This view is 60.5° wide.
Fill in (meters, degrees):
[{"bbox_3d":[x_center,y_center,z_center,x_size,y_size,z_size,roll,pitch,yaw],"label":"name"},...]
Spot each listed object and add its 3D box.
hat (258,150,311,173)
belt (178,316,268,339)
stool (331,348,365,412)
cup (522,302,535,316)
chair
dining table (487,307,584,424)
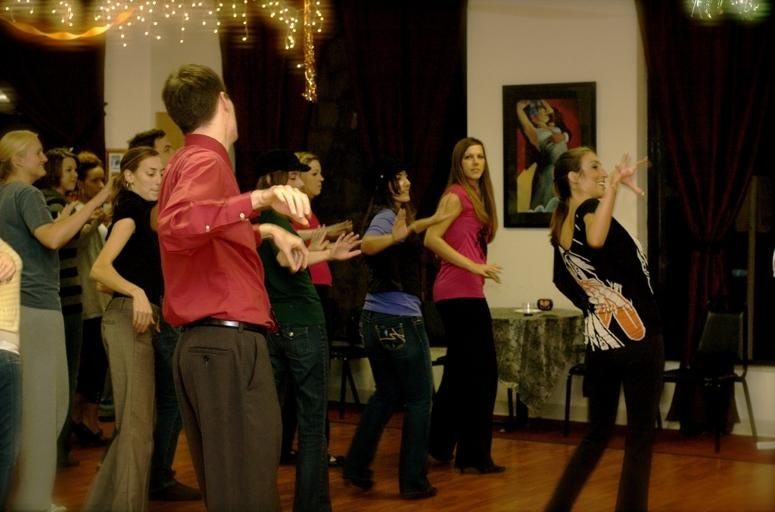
[{"bbox_3d":[-0.646,-0.574,4.087,0.218,0.094,0.151,-3,2,-3],"label":"hat"},{"bbox_3d":[-0.707,0.309,2.904,0.368,0.080,0.135,1,-2,-11],"label":"belt"},{"bbox_3d":[-0.374,1.140,6.290,0.316,0.466,0.287,0,-10,-20],"label":"stool"},{"bbox_3d":[1.203,0.471,5.697,0.090,0.098,0.088,0,-2,0],"label":"cup"},{"bbox_3d":[2.645,0.924,5.462,0.647,0.994,0.637,-5,1,-19],"label":"chair"},{"bbox_3d":[1.338,0.928,5.954,1.005,0.941,0.940,-1,3,-20],"label":"dining table"}]
